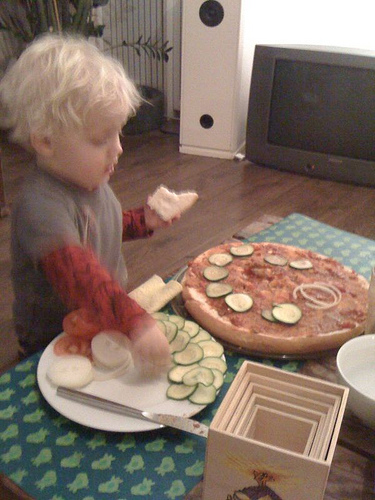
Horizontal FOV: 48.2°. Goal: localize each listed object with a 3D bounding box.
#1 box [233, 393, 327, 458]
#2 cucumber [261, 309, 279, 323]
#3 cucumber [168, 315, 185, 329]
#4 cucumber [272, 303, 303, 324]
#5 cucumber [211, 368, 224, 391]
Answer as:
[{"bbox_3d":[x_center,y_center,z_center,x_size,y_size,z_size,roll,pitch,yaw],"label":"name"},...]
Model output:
[{"bbox_3d":[0.094,0.180,0.428,0.059,0.023,0.040,16,40,24],"label":"box"},{"bbox_3d":[0.143,0.118,0.747,0.020,0.005,0.020,-12,32,-30],"label":"cucumber"},{"bbox_3d":[-0.020,0.123,0.719,0.021,0.005,0.021,12,28,-3],"label":"cucumber"},{"bbox_3d":[0.176,0.113,0.743,0.035,0.009,0.033,11,33,32],"label":"cucumber"},{"bbox_3d":[0.044,0.189,0.610,0.006,0.022,0.023,-11,-3,-12],"label":"cucumber"}]
